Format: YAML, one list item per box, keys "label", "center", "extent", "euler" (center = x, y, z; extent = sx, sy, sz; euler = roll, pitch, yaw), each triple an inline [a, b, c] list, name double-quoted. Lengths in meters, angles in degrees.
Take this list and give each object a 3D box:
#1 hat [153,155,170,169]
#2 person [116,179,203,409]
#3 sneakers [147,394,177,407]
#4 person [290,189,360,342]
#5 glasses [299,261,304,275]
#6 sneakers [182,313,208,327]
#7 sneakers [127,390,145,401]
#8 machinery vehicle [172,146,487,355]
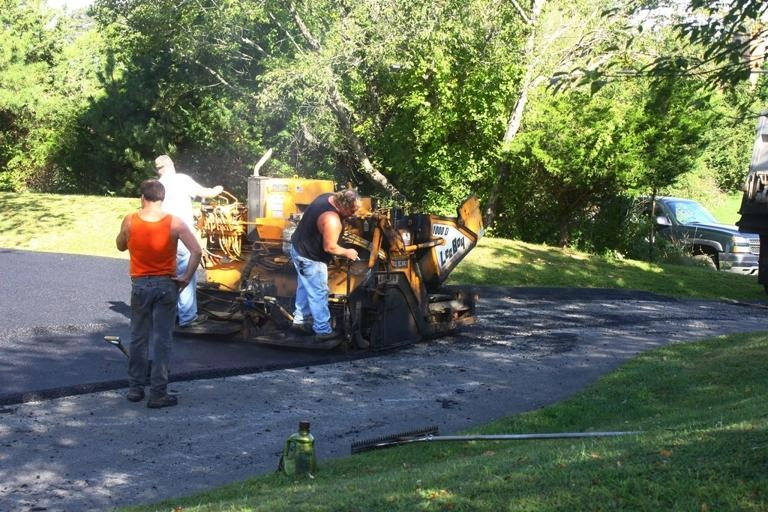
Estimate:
- label: "hat"
  center: [-3.493, -1.475, 11.427]
  extent: [0.196, 0.242, 0.378]
  euler: [1, 0, -33]
- label: "person"
  center: [-2.810, 0.434, 8.994]
  extent: [0.955, 2.801, 0.457]
  euler: [1, 0, -12]
- label: "sneakers"
  center: [-2.691, 1.764, 8.821]
  extent: [0.338, 0.163, 0.147]
  euler: [-4, 6, -19]
- label: "person"
  center: [-0.929, 0.131, 10.997]
  extent: [1.071, 1.588, 0.407]
  euler: [1, 0, 23]
- label: "glasses"
  center: [-1.244, 0.169, 10.948]
  extent: [0.065, 0.184, 0.131]
  euler: [-1, 0, -36]
- label: "sneakers"
  center: [-2.974, 1.017, 11.422]
  extent: [0.410, 0.168, 0.137]
  euler: [-28, 37, -29]
- label: "sneakers"
  center: [-3.051, 1.722, 8.946]
  extent: [0.184, 0.142, 0.088]
  euler: [1, 0, -21]
- label: "machinery vehicle"
  center: [-0.686, 0.238, 12.056]
  extent: [3.060, 1.900, 4.239]
  euler: [8, 10, 39]
